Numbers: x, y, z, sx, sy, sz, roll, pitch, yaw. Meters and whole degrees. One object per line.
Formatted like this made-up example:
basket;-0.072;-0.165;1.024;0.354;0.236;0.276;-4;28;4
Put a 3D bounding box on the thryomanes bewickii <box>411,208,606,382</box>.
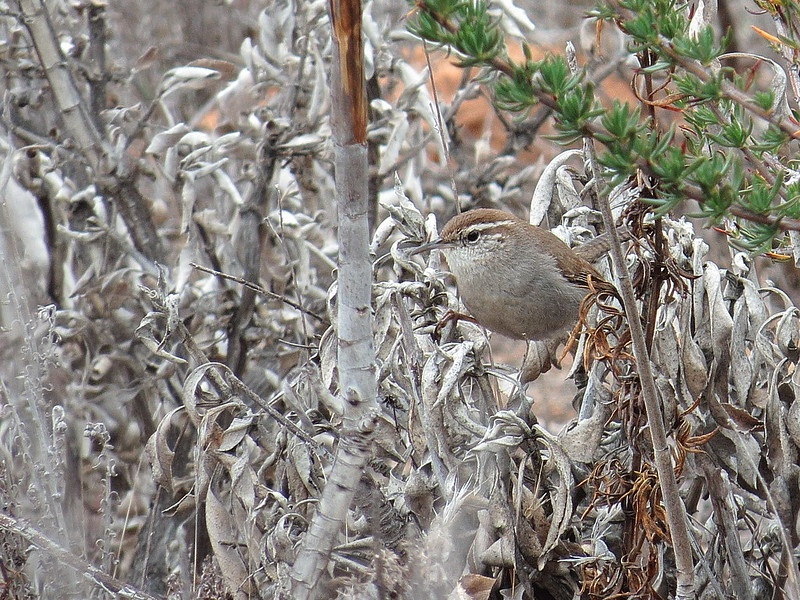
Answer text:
thryomanes bewickii;0.486;-0.092;5.090;0.536;0.750;1.080;-1;6;31
